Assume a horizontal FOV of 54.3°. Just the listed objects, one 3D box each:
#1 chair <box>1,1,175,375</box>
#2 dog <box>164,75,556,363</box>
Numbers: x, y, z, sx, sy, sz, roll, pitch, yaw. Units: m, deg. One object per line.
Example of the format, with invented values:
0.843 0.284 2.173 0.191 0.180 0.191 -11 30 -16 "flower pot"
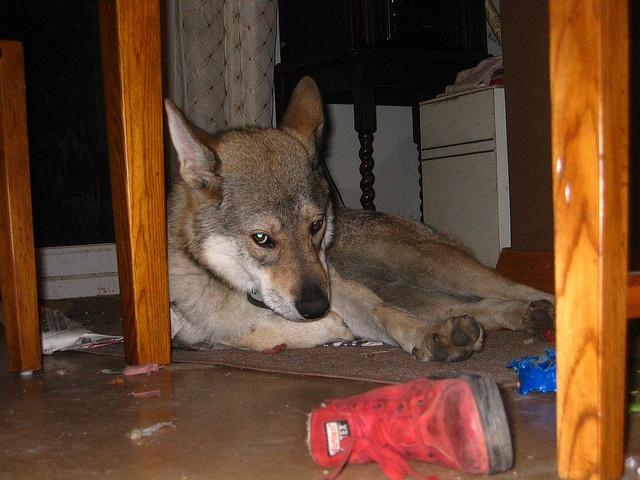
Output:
-0.935 -0.199 2.510 0.656 1.481 0.317 -2 9 0 "chair"
0.053 -0.154 2.900 1.529 1.293 1.041 -5 9 -15 "dog"
